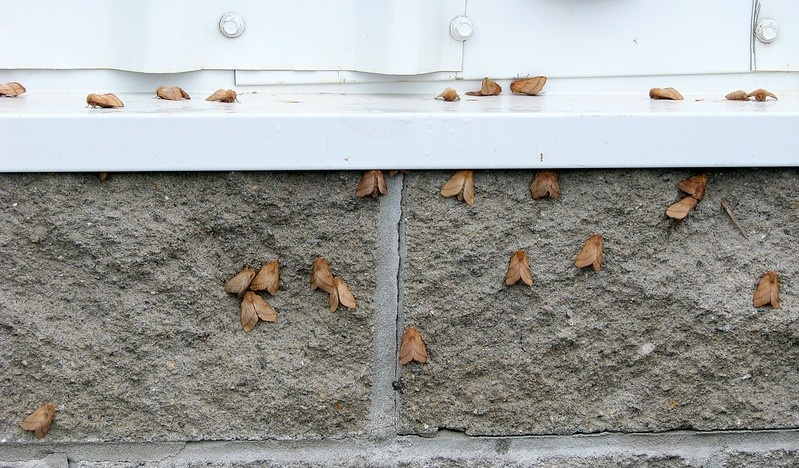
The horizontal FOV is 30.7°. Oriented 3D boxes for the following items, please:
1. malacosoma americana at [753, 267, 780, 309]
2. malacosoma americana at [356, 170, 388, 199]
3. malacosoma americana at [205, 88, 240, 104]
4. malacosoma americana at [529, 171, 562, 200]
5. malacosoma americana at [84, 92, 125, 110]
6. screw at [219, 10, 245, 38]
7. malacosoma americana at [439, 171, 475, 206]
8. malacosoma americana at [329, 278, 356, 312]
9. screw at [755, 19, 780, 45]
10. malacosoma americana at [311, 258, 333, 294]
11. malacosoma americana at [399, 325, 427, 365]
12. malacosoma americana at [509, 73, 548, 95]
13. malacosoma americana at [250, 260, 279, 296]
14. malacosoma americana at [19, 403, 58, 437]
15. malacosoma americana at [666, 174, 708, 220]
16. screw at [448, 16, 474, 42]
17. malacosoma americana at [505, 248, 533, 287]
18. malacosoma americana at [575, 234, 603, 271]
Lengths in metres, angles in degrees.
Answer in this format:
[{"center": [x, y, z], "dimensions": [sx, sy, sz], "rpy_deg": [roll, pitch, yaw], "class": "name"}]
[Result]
[{"center": [1.042, 0.164, 4.145], "dimensions": [0.073, 0.098, 0.029], "rpy_deg": [1, 1, -1], "class": "malacosoma americana"}, {"center": [-0.083, -0.139, 4.080], "dimensions": [0.071, 0.075, 0.021], "rpy_deg": [2, 8, -2], "class": "malacosoma americana"}, {"center": [-0.528, -0.411, 4.347], "dimensions": [0.062, 0.030, 0.062], "rpy_deg": [-1, 12, -45], "class": "malacosoma americana"}, {"center": [0.406, -0.137, 4.092], "dimensions": [0.076, 0.078, 0.030], "rpy_deg": [1, 5, -6], "class": "malacosoma americana"}, {"center": [-0.845, -0.381, 4.161], "dimensions": [0.103, 0.044, 0.099], "rpy_deg": [-2, 26, -11], "class": "malacosoma americana"}, {"center": [-0.515, -0.640, 4.443], "dimensions": [0.080, 0.076, 0.021], "rpy_deg": [0, 24, -8], "class": "screw"}, {"center": [0.168, -0.128, 4.083], "dimensions": [0.080, 0.085, 0.019], "rpy_deg": [20, 1, -6], "class": "malacosoma americana"}, {"center": [-0.167, 0.178, 4.124], "dimensions": [0.076, 0.086, 0.030], "rpy_deg": [-5, -3, -12], "class": "malacosoma americana"}, {"center": [1.123, -0.625, 4.470], "dimensions": [0.066, 0.070, 0.023], "rpy_deg": [-1, 3, -1], "class": "screw"}, {"center": [-0.227, 0.115, 4.130], "dimensions": [0.077, 0.037, 0.105], "rpy_deg": [11, 52, -33], "class": "malacosoma americana"}, {"center": [0.032, 0.325, 4.156], "dimensions": [0.084, 0.115, 0.033], "rpy_deg": [-8, -25, -1], "class": "malacosoma americana"}, {"center": [0.393, -0.460, 4.463], "dimensions": [0.114, 0.064, 0.086], "rpy_deg": [5, 25, 3], "class": "malacosoma americana"}, {"center": [-0.380, 0.125, 4.111], "dimensions": [0.072, 0.095, 0.036], "rpy_deg": [9, 2, -13], "class": "malacosoma americana"}, {"center": [-1.025, 0.536, 4.141], "dimensions": [0.082, 0.104, 0.037], "rpy_deg": [38, -9, -14], "class": "malacosoma americana"}, {"center": [0.816, -0.104, 4.156], "dimensions": [0.081, 0.155, 0.037], "rpy_deg": [34, 7, 5], "class": "malacosoma americana"}, {"center": [0.186, -0.630, 4.454], "dimensions": [0.075, 0.074, 0.025], "rpy_deg": [5, 24, 3], "class": "screw"}, {"center": [0.336, 0.102, 4.119], "dimensions": [0.074, 0.095, 0.022], "rpy_deg": [5, 0, -4], "class": "malacosoma americana"}, {"center": [0.537, 0.054, 4.120], "dimensions": [0.068, 0.103, 0.027], "rpy_deg": [11, 5, -5], "class": "malacosoma americana"}]
